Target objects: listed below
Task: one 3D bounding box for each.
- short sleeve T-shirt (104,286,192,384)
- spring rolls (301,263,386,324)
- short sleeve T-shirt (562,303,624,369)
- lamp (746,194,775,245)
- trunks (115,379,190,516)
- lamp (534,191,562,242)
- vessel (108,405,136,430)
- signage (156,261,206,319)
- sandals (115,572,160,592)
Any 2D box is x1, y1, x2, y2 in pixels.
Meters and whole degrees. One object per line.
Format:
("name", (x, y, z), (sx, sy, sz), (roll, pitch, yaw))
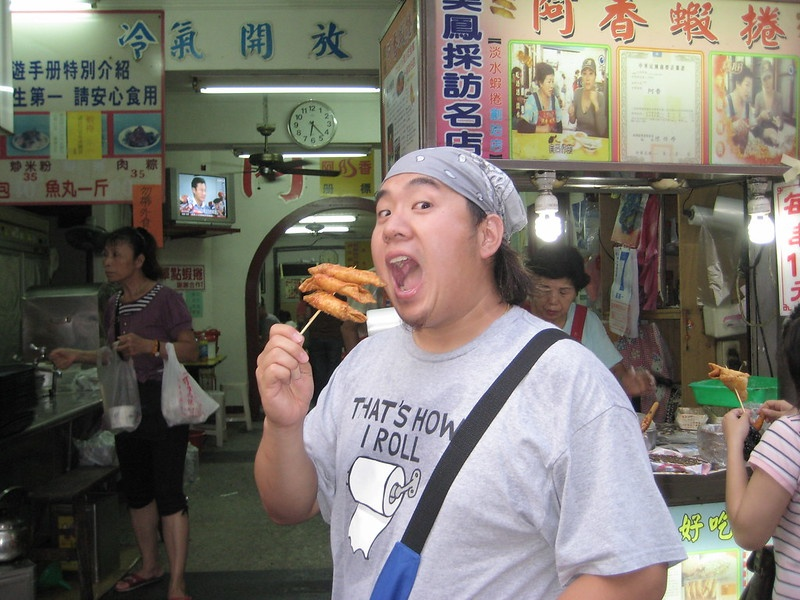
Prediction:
("short sleeve T-shirt", (-1.799, 0.269, 5.003), (0.531, 0.565, 0.325), (-6, -12, 7))
("spring rolls", (-0.239, -0.022, 2.831), (0.320, 0.215, 0.087), (15, -7, 22))
("short sleeve T-shirt", (1.209, 0.216, 4.374), (0.451, 0.470, 0.254), (-5, -1, -14))
("lamp", (2.253, -0.502, 4.394), (0.129, 0.289, 0.107), (1, 4, 22))
("trunks", (-1.777, 1.042, 5.006), (0.507, 0.934, 0.221), (1, 4, 16))
("lamp", (0.909, -0.510, 4.358), (0.149, 0.321, 0.157), (0, -7, -14))
("vessel", (-1.889, 0.807, 4.773), (0.161, 0.136, 0.170), (-3, -11, 9))
("signage", (-3.477, -0.156, 11.288), (0.638, 0.930, 0.039), (-1, 29, -14))
("sandals", (-1.922, 2.047, 5.147), (0.250, 0.081, 0.097), (7, -6, -34))
